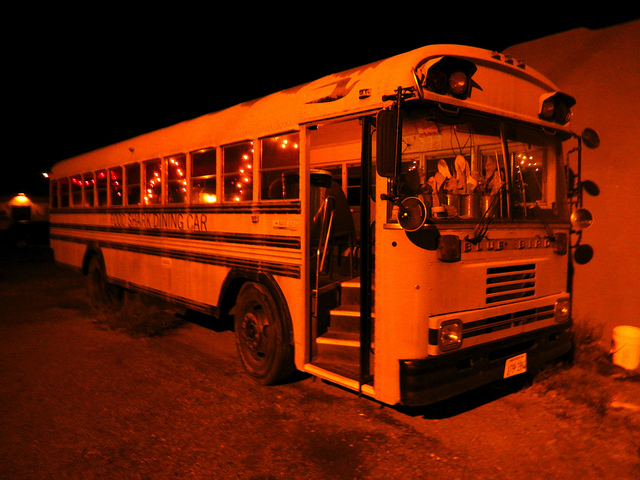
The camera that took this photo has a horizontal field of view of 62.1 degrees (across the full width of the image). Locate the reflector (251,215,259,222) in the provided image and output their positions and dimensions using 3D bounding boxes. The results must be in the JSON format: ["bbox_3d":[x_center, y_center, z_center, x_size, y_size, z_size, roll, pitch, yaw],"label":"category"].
[{"bbox_3d":[-0.845,-0.285,6.900,0.066,0.089,0.114,-4,8,-28],"label":"reflector"}]

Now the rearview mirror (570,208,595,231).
[{"bbox_3d":[3.221,-0.282,6.607,0.284,0.357,0.278,-1,5,-37],"label":"rearview mirror"}]

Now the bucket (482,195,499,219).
[{"bbox_3d":[1.822,-0.366,5.776,0.157,0.201,0.228,8,17,31],"label":"bucket"}]

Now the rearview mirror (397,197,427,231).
[{"bbox_3d":[0.914,-0.255,5.276,0.272,0.306,0.282,10,0,41],"label":"rearview mirror"}]

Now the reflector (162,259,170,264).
[{"bbox_3d":[-2.464,0.342,8.525,0.017,0.086,0.242,-12,19,-39],"label":"reflector"}]

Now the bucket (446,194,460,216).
[{"bbox_3d":[1.459,-0.396,5.793,0.152,0.322,0.173,-1,0,22],"label":"bucket"}]

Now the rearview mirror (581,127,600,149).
[{"bbox_3d":[3.489,-1.309,6.872,0.200,0.236,0.286,8,17,30],"label":"rearview mirror"}]

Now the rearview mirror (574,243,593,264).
[{"bbox_3d":[3.933,0.193,7.918,0.111,0.374,0.251,-1,7,-35],"label":"rearview mirror"}]

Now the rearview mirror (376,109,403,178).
[{"bbox_3d":[0.699,-0.962,5.275,0.249,0.689,0.067,0,-5,20],"label":"rearview mirror"}]

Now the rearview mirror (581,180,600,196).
[{"bbox_3d":[4.037,-0.784,7.925,0.057,0.217,0.254,-10,17,-35],"label":"rearview mirror"}]
